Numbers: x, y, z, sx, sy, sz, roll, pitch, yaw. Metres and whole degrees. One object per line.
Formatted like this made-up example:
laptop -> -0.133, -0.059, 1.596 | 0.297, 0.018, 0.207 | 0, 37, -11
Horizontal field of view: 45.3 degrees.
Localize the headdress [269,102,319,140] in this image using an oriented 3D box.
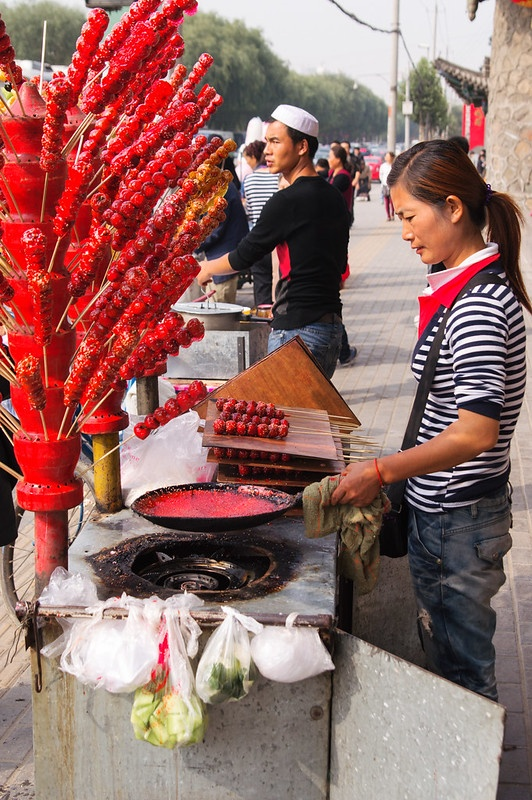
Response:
headdress -> 0.144, -1.471, 3.376 | 0.206, 0.060, 0.218 | 11, 27, -47
